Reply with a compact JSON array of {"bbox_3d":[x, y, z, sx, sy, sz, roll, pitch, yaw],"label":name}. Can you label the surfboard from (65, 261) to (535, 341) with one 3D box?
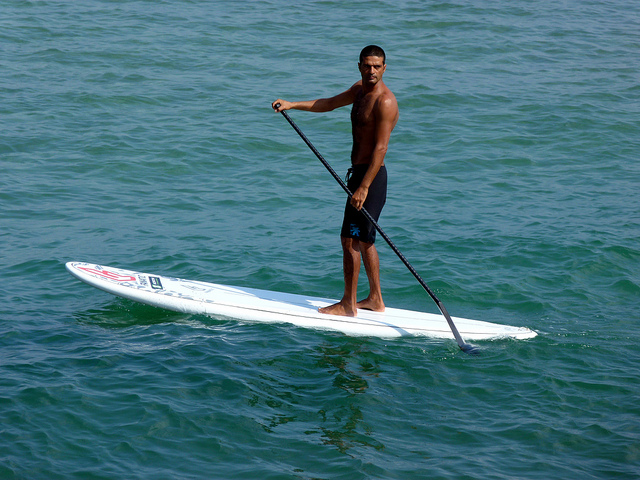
[{"bbox_3d":[-0.376,0.892,16.818,4.900,0.194,0.724,6,6,-2],"label":"surfboard"}]
